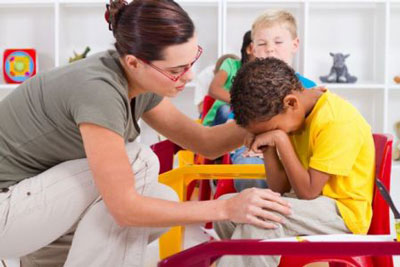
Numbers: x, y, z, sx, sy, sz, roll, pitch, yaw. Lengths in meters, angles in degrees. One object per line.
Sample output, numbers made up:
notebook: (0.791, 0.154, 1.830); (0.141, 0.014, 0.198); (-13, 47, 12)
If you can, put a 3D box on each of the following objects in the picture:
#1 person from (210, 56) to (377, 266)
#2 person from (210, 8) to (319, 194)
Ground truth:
person: (0.400, 0.082, 1.696); (0.766, 1.078, 0.506); (2, -4, 4)
person: (0.314, -0.198, 2.003); (0.569, 1.102, 0.661); (7, -12, 16)
